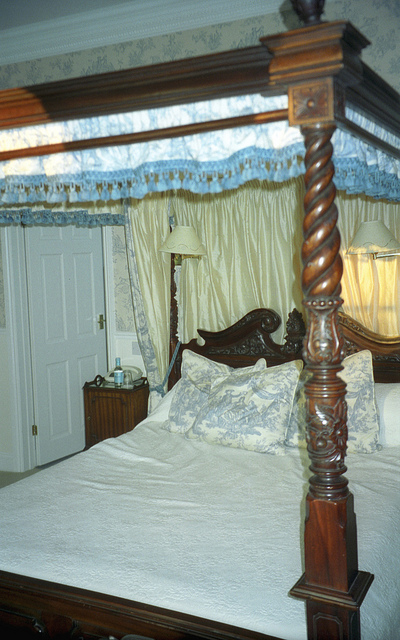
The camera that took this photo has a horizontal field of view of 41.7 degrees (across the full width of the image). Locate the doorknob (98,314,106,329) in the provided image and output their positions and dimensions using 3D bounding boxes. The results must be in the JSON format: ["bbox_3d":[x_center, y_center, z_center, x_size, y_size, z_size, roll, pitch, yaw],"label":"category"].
[{"bbox_3d":[-0.958,0.022,5.079,0.071,0.142,0.040,-4,3,-38],"label":"doorknob"}]

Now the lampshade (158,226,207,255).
[{"bbox_3d":[-0.119,-0.544,3.681,0.226,0.119,0.230,12,14,36],"label":"lampshade"}]

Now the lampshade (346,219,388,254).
[{"bbox_3d":[1.029,-0.496,3.159,0.178,0.124,0.200,0,5,5],"label":"lampshade"}]

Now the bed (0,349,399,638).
[{"bbox_3d":[0.110,0.742,2.316,1.161,0.747,1.593,5,11,30],"label":"bed"}]
